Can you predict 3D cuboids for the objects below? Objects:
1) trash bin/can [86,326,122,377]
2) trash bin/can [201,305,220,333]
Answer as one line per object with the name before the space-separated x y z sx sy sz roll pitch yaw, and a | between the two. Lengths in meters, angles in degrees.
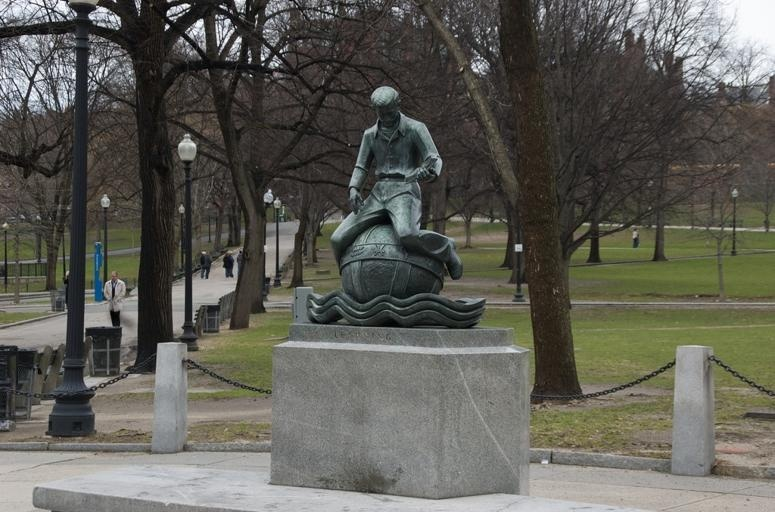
trash bin/can | -10.547 3.476 62.162 1.124 1.836 0.978 -4 -2 11
trash bin/can | -7.704 2.632 72.469 0.714 1.204 1.090 -3 -2 -6
